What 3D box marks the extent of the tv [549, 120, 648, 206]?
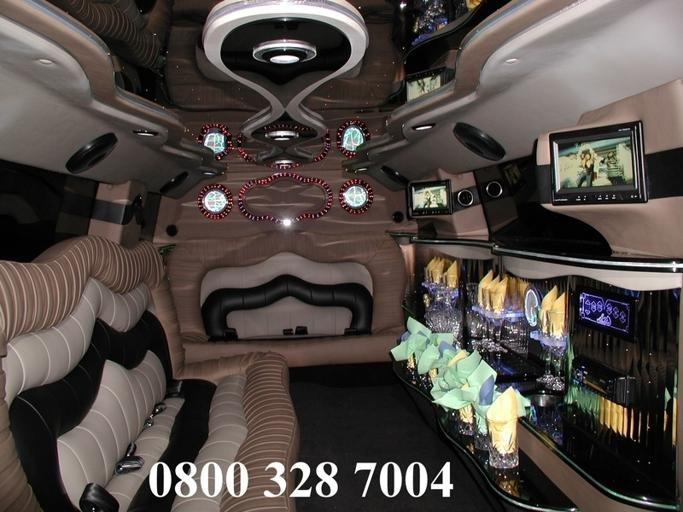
[{"bbox_3d":[0.914,-0.324,1.482,0.036,0.320,0.327,-8,6,-44],"label":"tv"}]
